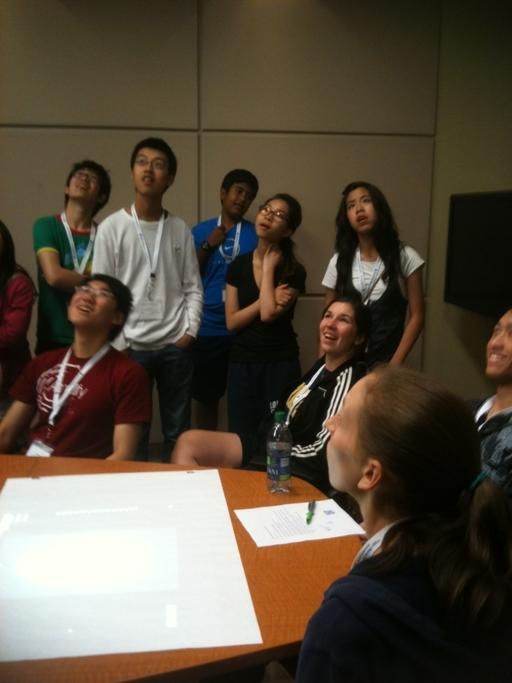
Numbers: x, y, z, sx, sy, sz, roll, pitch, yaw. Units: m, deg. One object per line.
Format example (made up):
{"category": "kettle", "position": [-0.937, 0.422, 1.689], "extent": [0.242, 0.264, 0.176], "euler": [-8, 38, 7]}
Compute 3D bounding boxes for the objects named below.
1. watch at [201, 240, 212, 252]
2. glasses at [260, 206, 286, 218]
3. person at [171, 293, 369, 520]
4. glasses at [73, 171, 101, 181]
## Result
{"category": "watch", "position": [-0.286, -0.569, 3.243], "extent": [0.041, 0.057, 0.055], "euler": [12, 8, 32]}
{"category": "glasses", "position": [0.089, -0.691, 2.980], "extent": [0.144, 0.089, 0.058], "euler": [5, 12, 16]}
{"category": "person", "position": [0.158, 0.243, 2.715], "extent": [0.868, 1.321, 0.644], "euler": [9, -5, -1]}
{"category": "glasses", "position": [-0.958, -0.924, 3.157], "extent": [0.099, 0.040, 0.076], "euler": [18, 10, -18]}
